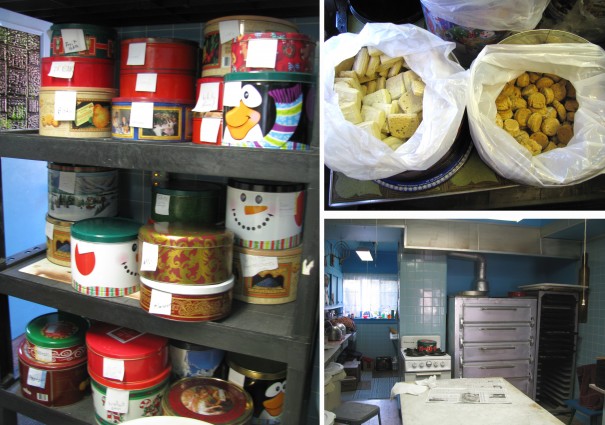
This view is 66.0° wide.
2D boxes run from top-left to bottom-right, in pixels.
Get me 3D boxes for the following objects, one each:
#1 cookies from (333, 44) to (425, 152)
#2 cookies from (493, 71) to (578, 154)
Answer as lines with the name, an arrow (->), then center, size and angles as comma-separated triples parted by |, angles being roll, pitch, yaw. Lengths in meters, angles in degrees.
cookies -> 0.219, -0.296, 1.225 | 0.244, 0.264, 0.091 | -30, -2, 17
cookies -> 0.612, -0.260, 1.250 | 0.212, 0.205, 0.071 | -7, 9, 3
